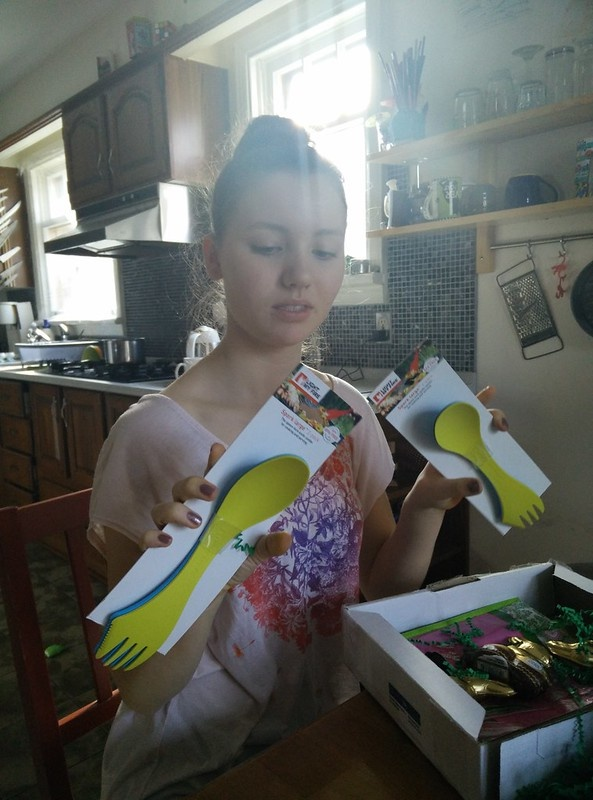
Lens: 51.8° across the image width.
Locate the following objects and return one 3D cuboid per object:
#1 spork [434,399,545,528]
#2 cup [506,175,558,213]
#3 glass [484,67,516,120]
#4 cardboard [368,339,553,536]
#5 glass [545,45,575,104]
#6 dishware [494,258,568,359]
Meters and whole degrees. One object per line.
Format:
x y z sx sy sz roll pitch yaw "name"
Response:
0.210 0.077 0.748 0.080 0.206 0.041 -39 6 0 "spork"
0.595 -0.523 1.535 0.177 0.081 0.109 -13 16 -31 "cup"
0.510 -0.762 1.536 0.070 0.121 0.133 -1 15 16 "glass"
0.194 0.050 0.763 0.125 0.319 0.052 -45 14 3 "cardboard"
0.618 -0.764 1.446 0.080 0.116 0.074 6 18 36 "glass"
0.650 -0.249 1.697 0.038 0.263 0.137 -11 -9 -35 "dishware"
